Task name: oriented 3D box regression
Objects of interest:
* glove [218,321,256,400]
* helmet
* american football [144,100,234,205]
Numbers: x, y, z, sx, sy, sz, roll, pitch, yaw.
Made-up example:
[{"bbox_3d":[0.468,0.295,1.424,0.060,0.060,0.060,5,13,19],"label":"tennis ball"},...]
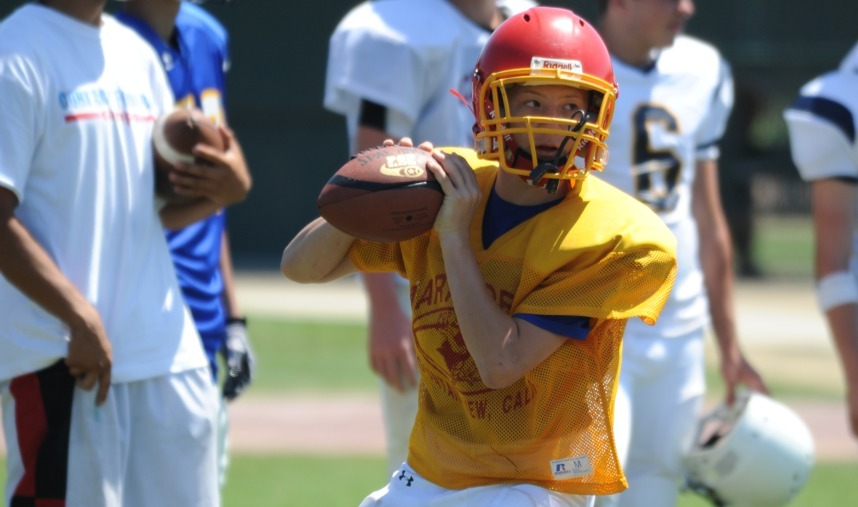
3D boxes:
[{"bbox_3d":[-0.905,0.504,5.218,0.112,0.303,0.229,5,5,-6],"label":"glove"},{"bbox_3d":[0.425,-0.674,4.336,0.479,0.495,0.613,2,5,-2],"label":"helmet"},{"bbox_3d":[-0.971,-0.421,4.442,0.281,0.346,0.293,2,-2,-10],"label":"american football"}]
